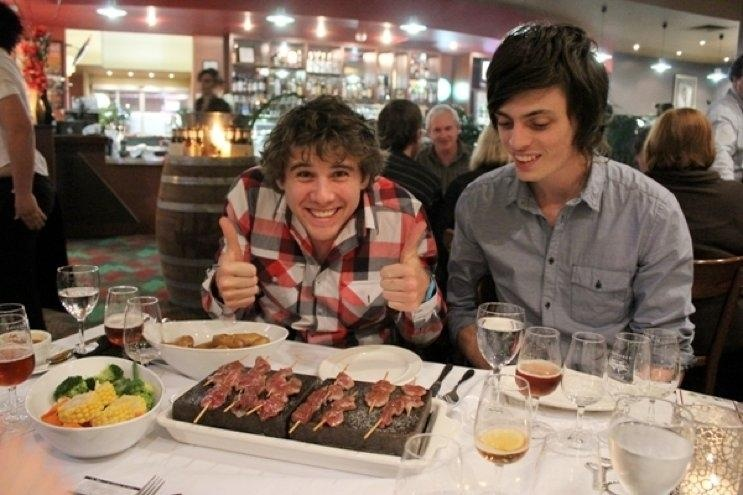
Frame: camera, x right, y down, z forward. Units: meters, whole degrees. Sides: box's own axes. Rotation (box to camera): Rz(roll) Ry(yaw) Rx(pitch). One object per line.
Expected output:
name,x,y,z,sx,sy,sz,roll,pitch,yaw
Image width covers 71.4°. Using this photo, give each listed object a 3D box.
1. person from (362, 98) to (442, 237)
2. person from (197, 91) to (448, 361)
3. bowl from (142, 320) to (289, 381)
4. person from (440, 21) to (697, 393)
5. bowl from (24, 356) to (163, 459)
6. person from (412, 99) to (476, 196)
person,0.242,-0.482,3.795,0.771,1.029,0.524,1,30,4
person,-0.199,-0.014,2.211,0.765,1.296,0.648,-1,8,-11
bowl,-0.516,0.279,1.789,0.404,0.176,0.457,7,8,36
person,0.907,-0.137,2.383,0.868,1.511,0.775,6,15,14
bowl,-0.719,0.434,1.380,0.284,0.111,0.290,9,27,-4
person,0.706,-0.776,4.966,0.809,1.125,0.569,0,21,17
